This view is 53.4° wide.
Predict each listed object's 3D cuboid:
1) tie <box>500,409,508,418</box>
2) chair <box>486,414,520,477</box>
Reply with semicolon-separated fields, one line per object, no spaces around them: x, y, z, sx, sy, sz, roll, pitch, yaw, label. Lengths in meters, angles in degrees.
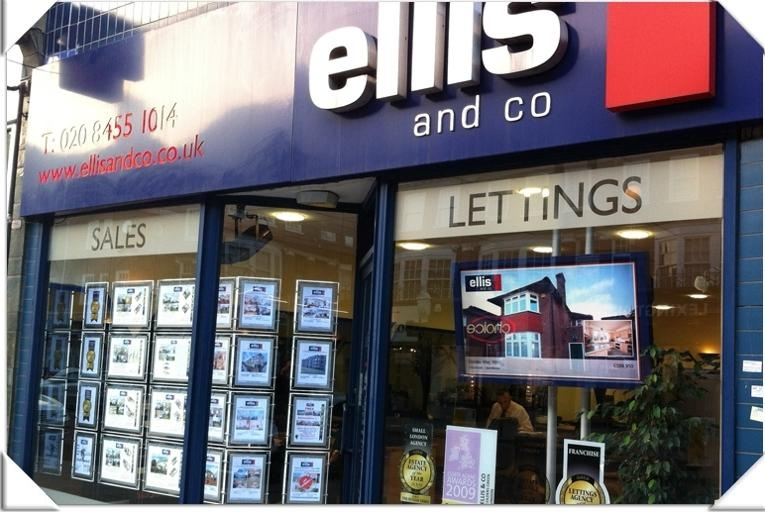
1.011;1.336;6.377;0.044;0.108;0.014;6;3;19;tie
0.983;1.692;6.464;0.300;0.538;0.310;4;-25;-14;chair
